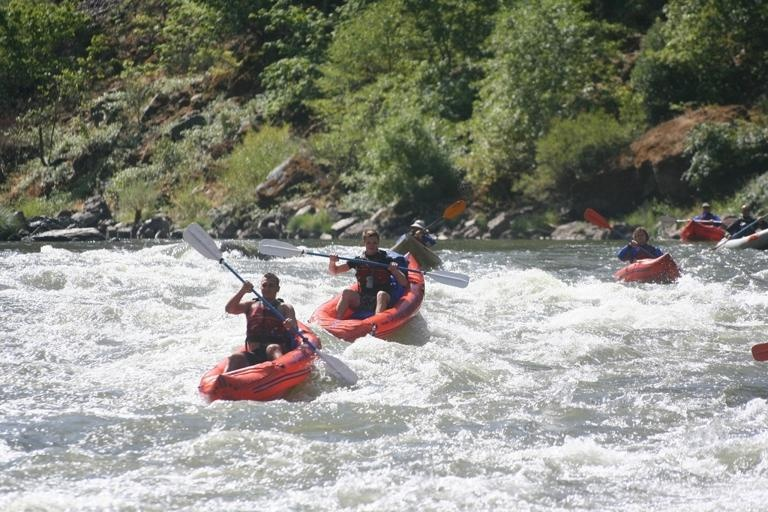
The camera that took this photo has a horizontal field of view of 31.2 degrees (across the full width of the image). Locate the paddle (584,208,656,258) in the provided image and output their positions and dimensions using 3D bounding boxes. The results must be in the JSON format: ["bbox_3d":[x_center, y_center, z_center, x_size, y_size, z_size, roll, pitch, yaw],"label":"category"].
[{"bbox_3d":[8.265,-0.838,48.505,0.893,1.074,3.629,-3,29,-39],"label":"paddle"}]

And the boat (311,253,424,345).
[{"bbox_3d":[0.044,1.631,44.347,2.105,1.263,3.964,13,28,29],"label":"boat"}]

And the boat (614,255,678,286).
[{"bbox_3d":[8.993,0.402,46.885,1.973,1.064,0.422,4,12,20],"label":"boat"}]

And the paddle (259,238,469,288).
[{"bbox_3d":[-0.679,-0.421,44.889,6.833,0.483,1.095,-1,-11,0],"label":"paddle"}]

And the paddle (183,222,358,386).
[{"bbox_3d":[-3.715,1.763,45.117,8.603,0.872,0.322,43,15,24],"label":"paddle"}]
